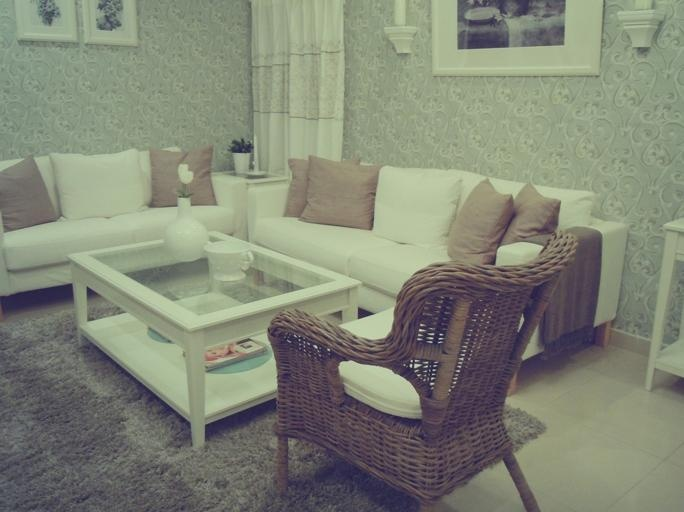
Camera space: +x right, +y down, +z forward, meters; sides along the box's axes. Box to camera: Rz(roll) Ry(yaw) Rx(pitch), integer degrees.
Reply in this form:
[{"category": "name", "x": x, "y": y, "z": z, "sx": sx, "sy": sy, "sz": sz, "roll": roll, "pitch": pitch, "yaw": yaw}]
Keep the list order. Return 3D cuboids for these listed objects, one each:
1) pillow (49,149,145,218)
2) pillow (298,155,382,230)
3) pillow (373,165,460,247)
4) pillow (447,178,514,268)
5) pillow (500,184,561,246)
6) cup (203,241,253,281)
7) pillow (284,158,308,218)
[{"category": "pillow", "x": -1.914, "y": -0.541, "z": 4.574, "sx": 0.511, "sy": 0.420, "sz": 0.187, "roll": -12, "pitch": 16, "yaw": -41}, {"category": "pillow", "x": -0.024, "y": -0.450, "z": 4.400, "sx": 0.479, "sy": 0.401, "sz": 0.232, "roll": 10, "pitch": 26, "yaw": 16}, {"category": "pillow", "x": 0.507, "y": -0.319, "z": 3.981, "sx": 0.240, "sy": 0.354, "sz": 0.457, "roll": -24, "pitch": 28, "yaw": -39}, {"category": "pillow", "x": 0.803, "y": -0.184, "z": 3.401, "sx": 0.266, "sy": 0.439, "sz": 0.480, "roll": -4, "pitch": 15, "yaw": -8}, {"category": "pillow", "x": 1.111, "y": -0.229, "z": 3.377, "sx": 0.100, "sy": 0.321, "sz": 0.331, "roll": 22, "pitch": -1, "yaw": -25}, {"category": "cup", "x": -0.662, "y": 0.018, "z": 3.375, "sx": 0.229, "sy": 0.123, "sz": 0.233, "roll": 1, "pitch": 17, "yaw": 0}, {"category": "pillow", "x": -0.350, "y": -0.526, "z": 4.624, "sx": 0.354, "sy": 0.413, "sz": 0.115, "roll": 16, "pitch": 14, "yaw": 41}]
